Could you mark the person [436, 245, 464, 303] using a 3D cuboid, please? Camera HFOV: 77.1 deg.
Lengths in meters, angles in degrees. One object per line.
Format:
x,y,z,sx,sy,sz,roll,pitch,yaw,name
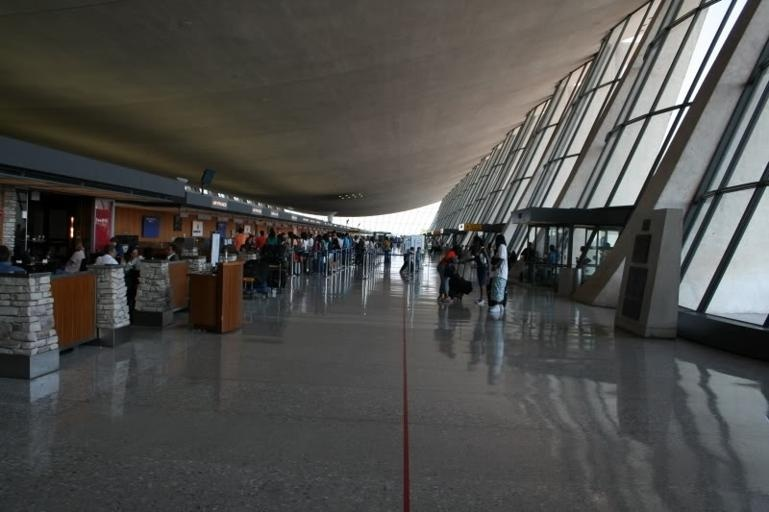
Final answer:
2.032,0.503,15.196,0.611,1.605,2.831,2,5,8,person
